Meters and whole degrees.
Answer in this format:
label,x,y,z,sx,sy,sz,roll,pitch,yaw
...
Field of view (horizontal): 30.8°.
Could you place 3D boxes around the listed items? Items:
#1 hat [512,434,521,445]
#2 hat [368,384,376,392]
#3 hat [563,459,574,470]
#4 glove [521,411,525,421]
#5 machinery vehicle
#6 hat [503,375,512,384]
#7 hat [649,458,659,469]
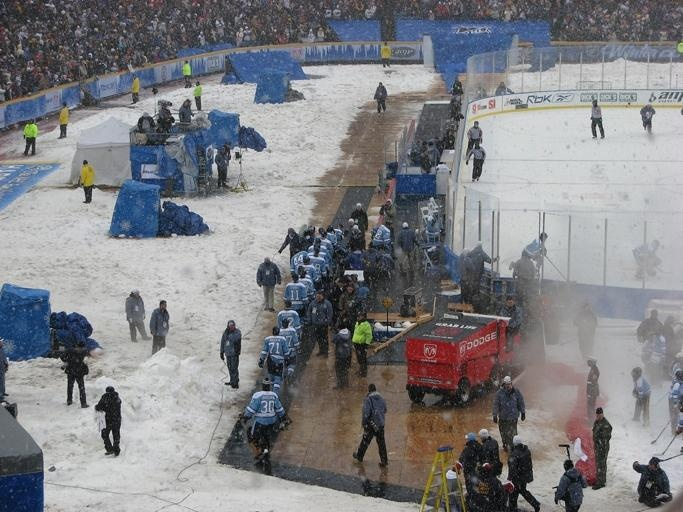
label,x,y,z,sx,sy,sz,roll,pitch,yaw
hat,4.542,4.717,31.829,0.210,0.250,0.300,-1,12,6
hat,0.819,3.535,33.201,0.166,0.255,0.215,-5,11,-30
hat,5.774,5.272,31.416,0.197,0.283,0.278,-1,1,3
glove,4.906,4.308,33.318,0.144,0.259,0.072,-2,0,6
machinery vehicle,3.636,2.968,36.245,1.826,2.472,3.712,2,8,36
hat,4.481,3.331,33.352,0.171,0.161,0.261,1,13,17
hat,8.031,5.266,31.683,0.231,0.285,0.328,3,14,26
